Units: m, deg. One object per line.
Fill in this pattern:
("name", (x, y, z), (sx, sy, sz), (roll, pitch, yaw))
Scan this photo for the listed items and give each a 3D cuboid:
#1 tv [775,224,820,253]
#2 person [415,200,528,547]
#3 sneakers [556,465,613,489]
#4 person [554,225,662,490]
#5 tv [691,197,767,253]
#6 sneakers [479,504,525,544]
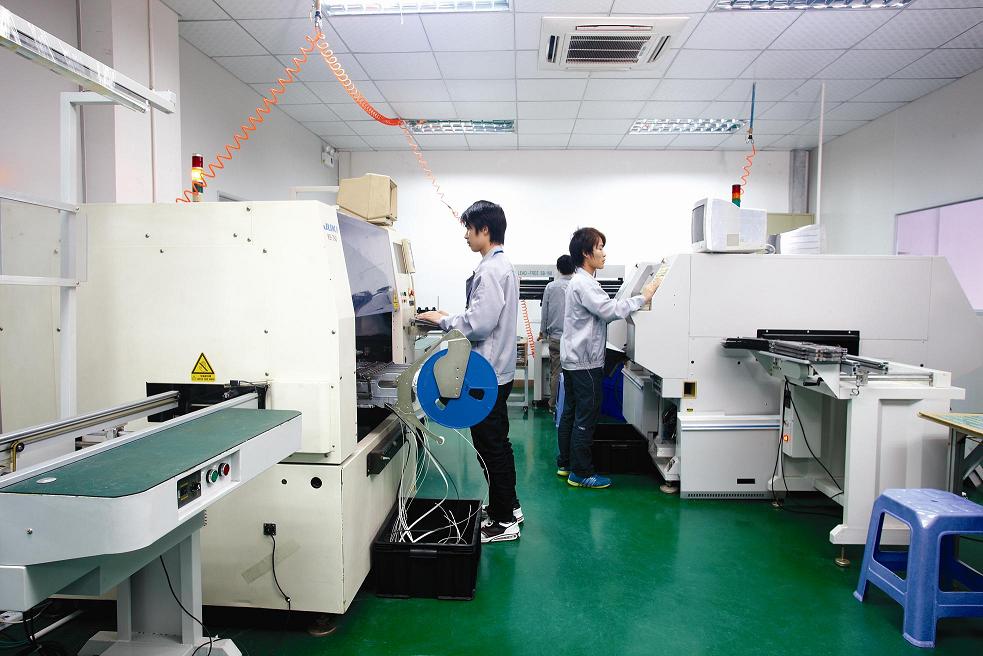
("tv", (2.034, -0.594, 4.667), (0.241, 0.203, 0.320), (-2, 5, -36))
("person", (-0.059, 0.269, 4.084), (0.537, 2.046, 0.370), (0, 4, -4))
("sneakers", (0.645, 1.055, 4.833), (0.363, 0.149, 0.130), (-3, -2, 9))
("person", (0.714, 0.214, 4.725), (0.415, 1.792, 0.682), (-3, 5, -38))
("tv", (1.586, -0.661, 4.594), (0.405, 0.286, 0.399), (0, 2, 0))
("sneakers", (0.048, 1.217, 4.152), (0.346, 0.148, 0.115), (1, 0, -3))
